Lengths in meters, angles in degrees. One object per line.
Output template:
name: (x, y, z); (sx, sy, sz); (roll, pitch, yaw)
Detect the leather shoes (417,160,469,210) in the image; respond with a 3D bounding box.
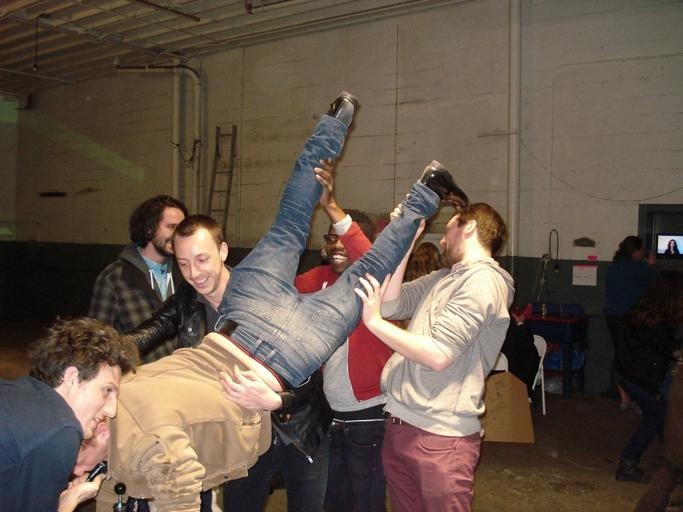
leather shoes: (0.628, -0.508, 4.013); (0.155, 0.188, 0.459); (26, 1, 27)

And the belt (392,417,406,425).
belt: (0.348, 0.990, 3.629); (0.056, 0.045, 0.058); (2, 0, 2)

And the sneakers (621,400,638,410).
sneakers: (3.673, 1.894, 7.645); (0.258, 0.114, 0.087); (4, -3, -32)

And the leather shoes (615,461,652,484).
leather shoes: (2.759, 2.070, 5.766); (0.355, 0.260, 0.135); (-2, -2, 3)
